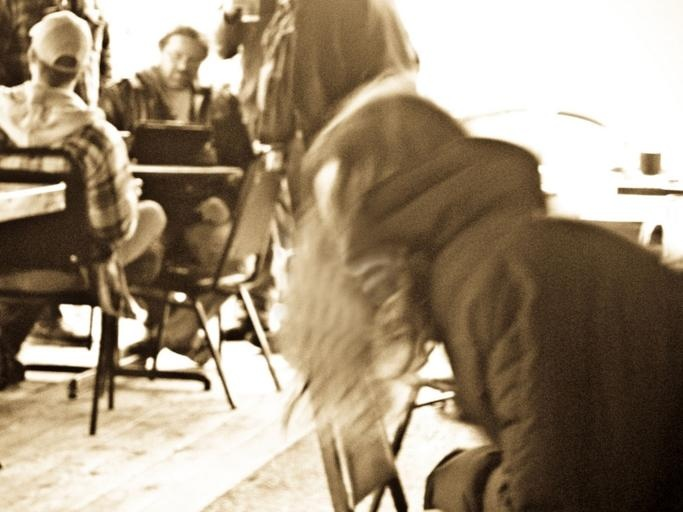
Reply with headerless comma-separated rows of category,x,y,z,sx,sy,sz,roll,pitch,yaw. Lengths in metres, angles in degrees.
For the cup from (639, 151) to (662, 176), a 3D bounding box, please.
cup,1.039,-0.313,2.653,0.085,0.095,0.087,-3,4,0
